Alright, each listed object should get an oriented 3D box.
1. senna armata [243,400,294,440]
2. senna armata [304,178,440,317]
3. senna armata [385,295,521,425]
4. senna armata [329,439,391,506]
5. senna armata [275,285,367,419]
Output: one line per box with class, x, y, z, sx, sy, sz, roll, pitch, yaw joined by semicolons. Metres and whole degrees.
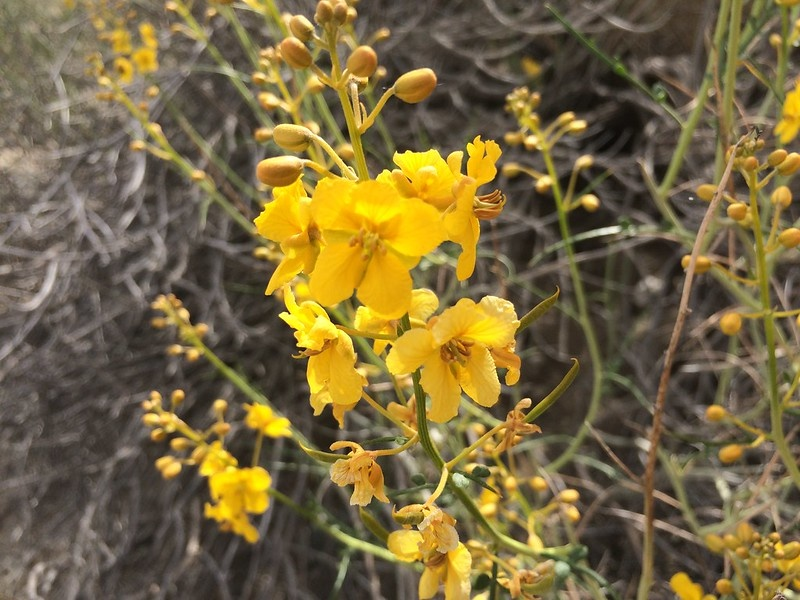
senna armata;-0.731;0.660;4.522;0.215;0.100;0.226;-1;-43;47
senna armata;-0.088;-0.190;3.165;0.502;0.493;0.230;4;-11;3
senna armata;0.210;0.225;3.225;0.192;0.447;0.417;34;21;-26
senna armata;-0.151;0.726;3.385;0.248;0.259;0.119;11;20;13
senna armata;-0.321;0.171;3.353;0.444;0.286;0.306;26;-6;-12
